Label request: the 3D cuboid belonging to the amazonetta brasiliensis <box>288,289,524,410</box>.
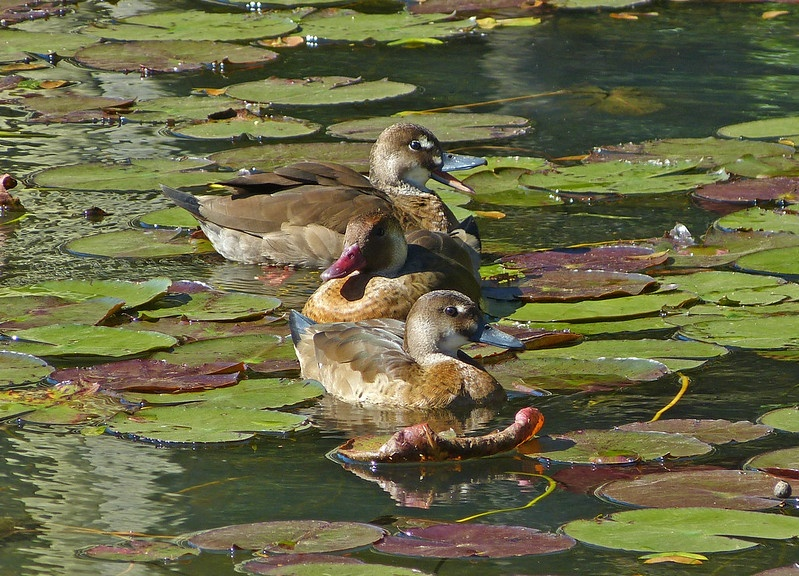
[{"bbox_3d":[0.012,0.379,5.660,1.146,0.688,0.739,3,23,27],"label":"amazonetta brasiliensis"}]
